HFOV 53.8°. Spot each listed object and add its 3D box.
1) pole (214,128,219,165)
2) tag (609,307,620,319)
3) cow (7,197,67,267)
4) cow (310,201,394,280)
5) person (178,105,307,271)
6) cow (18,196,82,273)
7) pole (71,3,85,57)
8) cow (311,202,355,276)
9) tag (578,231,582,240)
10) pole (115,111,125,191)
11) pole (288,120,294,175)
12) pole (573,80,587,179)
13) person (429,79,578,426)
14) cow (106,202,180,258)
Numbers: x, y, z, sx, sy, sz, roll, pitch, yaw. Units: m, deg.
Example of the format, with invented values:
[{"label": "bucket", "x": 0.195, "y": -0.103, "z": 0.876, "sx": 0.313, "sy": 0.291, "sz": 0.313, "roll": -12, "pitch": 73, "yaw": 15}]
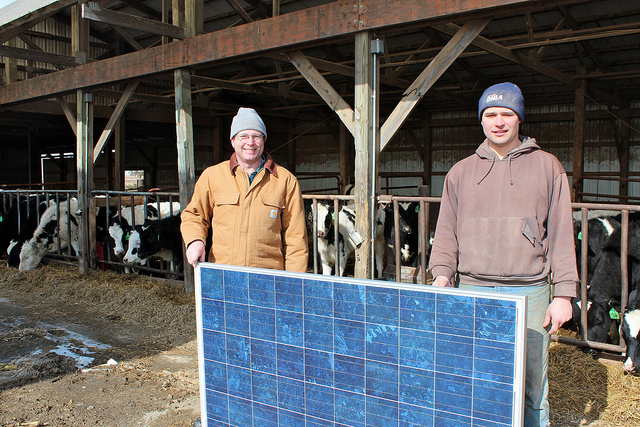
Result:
[{"label": "pole", "x": -3.374, "y": -2.251, "z": 20.548, "sx": 0.168, "sy": 1.149, "sz": 0.521, "roll": -2, "pitch": 10, "yaw": -11}, {"label": "tag", "x": 3.617, "y": 1.223, "z": 7.796, "sx": 0.123, "sy": 0.199, "sz": 0.014, "roll": 1, "pitch": 27, "yaw": 31}, {"label": "cow", "x": -5.338, "y": 0.384, "z": 11.957, "sx": 0.250, "sy": 1.189, "sz": 0.578, "roll": 9, "pitch": -28, "yaw": 17}, {"label": "cow", "x": 0.512, "y": 0.498, "z": 10.733, "sx": 0.527, "sy": 1.526, "sz": 1.988, "roll": 12, "pitch": 8, "yaw": 40}, {"label": "person", "x": -0.765, "y": 0.053, "z": 6.667, "sx": 1.155, "sy": 2.390, "sz": 0.986, "roll": -4, "pitch": 25, "yaw": -15}, {"label": "cow", "x": -5.021, "y": 0.433, "z": 11.810, "sx": 0.463, "sy": 1.059, "sz": 1.619, "roll": 3, "pitch": 30, "yaw": 22}, {"label": "pole", "x": -4.536, "y": -3.457, "z": 11.853, "sx": 0.240, "sy": 0.899, "sz": 0.557, "roll": -5, "pitch": 11, "yaw": -21}, {"label": "cow", "x": 0.335, "y": 0.444, "z": 10.738, "sx": 0.522, "sy": 1.234, "sz": 1.946, "roll": 5, "pitch": 4, "yaw": 23}, {"label": "tag", "x": 3.531, "y": 0.289, "z": 8.623, "sx": 0.017, "sy": 0.160, "sz": 0.120, "roll": 5, "pitch": -4, "yaw": 30}, {"label": "pole", "x": -5.301, "y": -1.782, "z": 16.792, "sx": 0.190, "sy": 2.437, "sz": 0.212, "roll": 4, "pitch": -11, "yaw": -24}, {"label": "pole", "x": -1.086, "y": -2.486, "z": 23.086, "sx": 0.215, "sy": 1.905, "sz": 0.417, "roll": -1, "pitch": 9, "yaw": -4}, {"label": "pole", "x": 6.025, "y": -1.973, "z": 14.710, "sx": 0.237, "sy": 2.279, "sz": 0.639, "roll": 3, "pitch": 10, "yaw": 21}, {"label": "person", "x": 1.734, "y": 0.373, "z": 5.920, "sx": 1.249, "sy": 3.116, "sz": 0.638, "roll": 4, "pitch": 11, "yaw": 27}, {"label": "cow", "x": -3.331, "y": 0.409, "z": 12.188, "sx": 0.509, "sy": 1.268, "sz": 2.127, "roll": 2, "pitch": 3, "yaw": 15}]
